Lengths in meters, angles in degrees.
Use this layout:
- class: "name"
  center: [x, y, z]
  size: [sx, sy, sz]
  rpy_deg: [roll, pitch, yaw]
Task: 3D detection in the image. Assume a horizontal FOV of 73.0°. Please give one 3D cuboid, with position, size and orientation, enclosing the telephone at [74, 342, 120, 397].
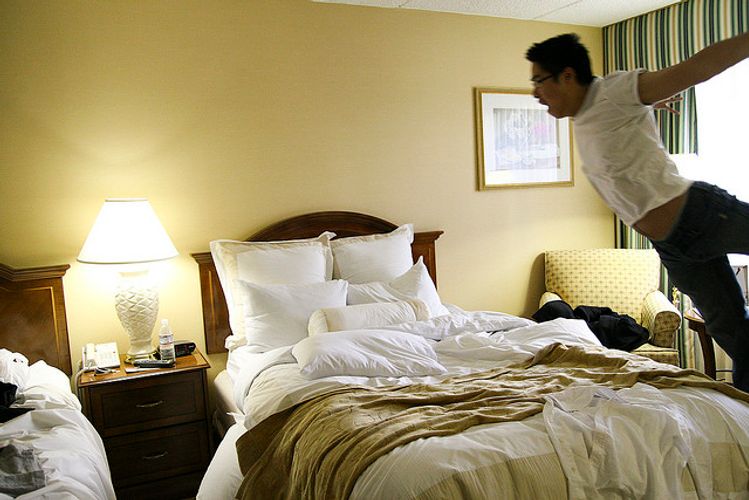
- class: "telephone"
  center: [-1.964, 0.784, 3.598]
  size: [0.271, 0.153, 0.451]
  rpy_deg: [-4, 14, -31]

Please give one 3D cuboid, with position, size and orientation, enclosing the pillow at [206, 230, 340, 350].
- class: "pillow"
  center: [-0.831, 0.356, 3.907]
  size: [0.931, 0.892, 0.269]
  rpy_deg: [-3, -11, -26]
